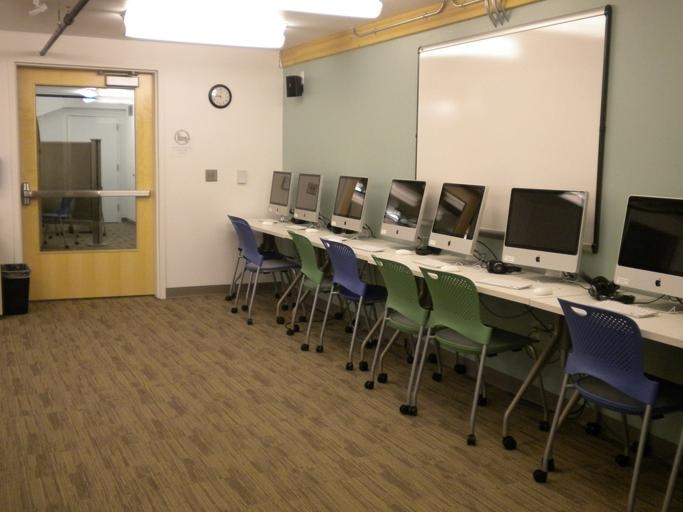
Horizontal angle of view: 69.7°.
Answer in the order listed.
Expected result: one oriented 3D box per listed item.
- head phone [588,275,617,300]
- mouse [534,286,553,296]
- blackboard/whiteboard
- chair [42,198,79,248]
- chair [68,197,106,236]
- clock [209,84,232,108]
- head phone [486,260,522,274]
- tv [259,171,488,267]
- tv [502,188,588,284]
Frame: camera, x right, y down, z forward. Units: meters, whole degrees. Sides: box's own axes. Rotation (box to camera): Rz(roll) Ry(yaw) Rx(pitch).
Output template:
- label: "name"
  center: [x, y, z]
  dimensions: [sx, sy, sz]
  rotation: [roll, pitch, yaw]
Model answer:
- label: "head phone"
  center: [1.595, 0.187, 2.977]
  dimensions: [0.118, 0.098, 0.175]
  rotation: [1, 5, -43]
- label: "mouse"
  center: [1.252, 0.206, 3.050]
  dimensions: [0.107, 0.039, 0.059]
  rotation: [-4, 10, -30]
- label: "blackboard/whiteboard"
  center: [1.349, -0.970, 3.742]
  dimensions: [0.169, 1.813, 2.081]
  rotation: [-2, 4, -32]
- label: "chair"
  center: [-3.569, -0.446, 6.313]
  dimensions: [0.504, 0.867, 0.504]
  rotation: [0, 3, -32]
- label: "chair"
  center: [-3.224, -0.516, 6.300]
  dimensions: [0.391, 0.690, 0.399]
  rotation: [-3, 10, -17]
- label: "clock"
  center: [-1.635, -2.152, 6.533]
  dimensions: [0.258, 0.269, 0.028]
  rotation: [-22, 22, -24]
- label: "head phone"
  center: [1.198, 0.084, 3.630]
  dimensions: [0.157, 0.065, 0.124]
  rotation: [4, 5, -10]
- label: "tv"
  center: [0.344, -0.377, 4.847]
  dimensions: [0.598, 0.719, 1.025]
  rotation: [13, 0, -29]
- label: "tv"
  center: [1.412, -0.144, 3.354]
  dimensions: [0.225, 0.621, 0.592]
  rotation: [2, 4, -37]
